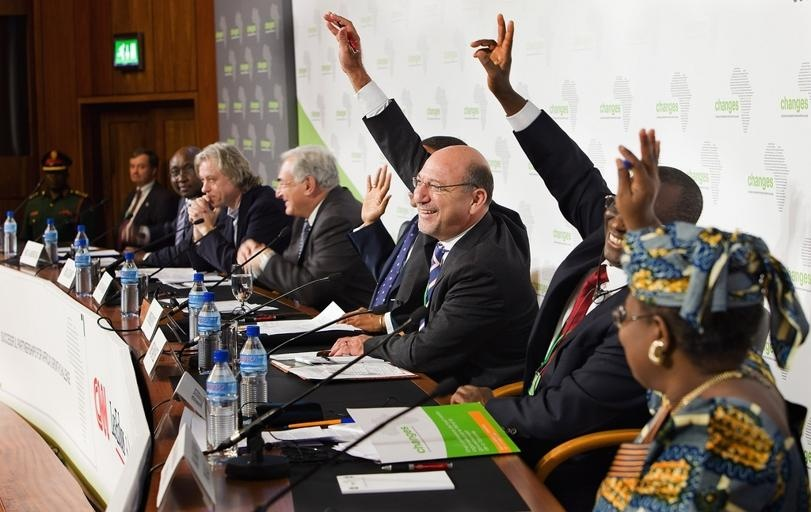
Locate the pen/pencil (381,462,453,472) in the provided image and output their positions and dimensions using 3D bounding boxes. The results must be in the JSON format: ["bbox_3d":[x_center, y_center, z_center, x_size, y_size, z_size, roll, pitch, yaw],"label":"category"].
[{"bbox_3d":[0.024,0.574,1.667,0.163,0.022,0.022,-1,-1,-6],"label":"pen/pencil"}]

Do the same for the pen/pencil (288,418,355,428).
[{"bbox_3d":[-0.260,0.503,1.844,0.183,0.020,0.020,-1,-1,-4],"label":"pen/pencil"}]

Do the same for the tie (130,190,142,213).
[{"bbox_3d":[-2.755,-0.544,6.253,0.039,0.270,0.027,17,-23,-3],"label":"tie"}]

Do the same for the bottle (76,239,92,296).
[{"bbox_3d":[-1.839,0.076,3.485,0.093,0.278,0.345,-4,6,-27],"label":"bottle"}]

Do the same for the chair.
[{"bbox_3d":[0.552,0.633,2.210,0.324,0.434,0.278,-7,6,-22],"label":"chair"}]

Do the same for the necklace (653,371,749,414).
[{"bbox_3d":[0.621,0.320,1.313,0.161,0.066,0.124,-31,-32,20],"label":"necklace"}]

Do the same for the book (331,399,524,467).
[{"bbox_3d":[0.101,0.547,1.839,0.361,0.009,0.410,1,-41,-1],"label":"book"}]

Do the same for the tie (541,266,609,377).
[{"bbox_3d":[0.631,0.250,2.255,0.115,0.411,0.049,24,9,-45],"label":"tie"}]

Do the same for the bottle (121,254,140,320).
[{"bbox_3d":[-1.401,0.136,3.092,0.087,0.310,0.282,-4,6,-25],"label":"bottle"}]
